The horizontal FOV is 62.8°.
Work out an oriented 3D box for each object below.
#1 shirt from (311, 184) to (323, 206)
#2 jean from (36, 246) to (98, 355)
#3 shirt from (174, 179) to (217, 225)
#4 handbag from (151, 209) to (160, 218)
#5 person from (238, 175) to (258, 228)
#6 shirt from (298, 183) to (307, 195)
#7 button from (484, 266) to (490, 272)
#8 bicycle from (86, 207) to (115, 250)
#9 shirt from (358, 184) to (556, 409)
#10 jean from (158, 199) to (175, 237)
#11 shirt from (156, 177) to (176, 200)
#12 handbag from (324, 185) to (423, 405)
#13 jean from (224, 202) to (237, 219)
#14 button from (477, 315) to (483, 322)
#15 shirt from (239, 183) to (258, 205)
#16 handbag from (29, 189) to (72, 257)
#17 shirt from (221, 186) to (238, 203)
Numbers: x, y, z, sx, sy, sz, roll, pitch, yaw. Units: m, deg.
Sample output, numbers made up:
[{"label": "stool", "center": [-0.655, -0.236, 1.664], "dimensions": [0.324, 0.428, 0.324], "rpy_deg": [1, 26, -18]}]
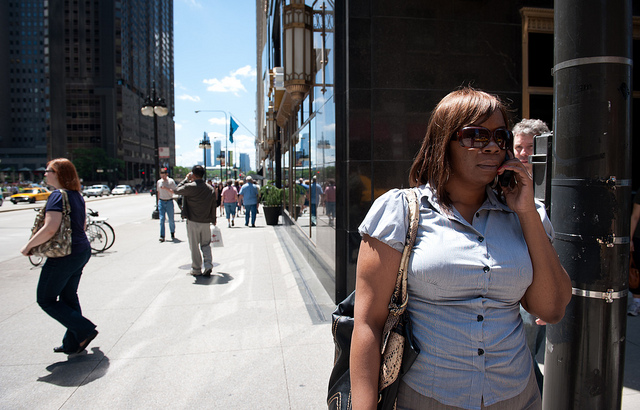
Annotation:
[{"label": "shirt", "center": [-0.060, -0.217, 10.569], "dimensions": [0.168, 0.456, 0.384], "rpy_deg": [-7, 11, -27]}, {"label": "jean", "center": [-3.206, 1.235, 6.651], "dimensions": [0.639, 1.307, 0.414], "rpy_deg": [-6, 12, -26]}, {"label": "shirt", "center": [-2.366, -0.114, 10.202], "dimensions": [0.815, 0.878, 0.485], "rpy_deg": [2, 1, -31]}, {"label": "handbag", "center": [-6.862, 0.352, 21.842], "dimensions": [0.272, 0.204, 0.405], "rpy_deg": [-3, 8, -15]}, {"label": "person", "center": [-2.566, -0.174, 18.892], "dimensions": [0.752, 1.830, 0.515], "rpy_deg": [-3, 12, -14]}, {"label": "shirt", "center": [-0.443, -0.419, 13.001], "dimensions": [0.116, 0.325, 0.292], "rpy_deg": [0, 8, -25]}, {"label": "button", "center": [1.184, 0.453, 3.733], "dimensions": [0.034, 0.035, 0.012], "rpy_deg": [-22, 4, -14]}, {"label": "bicycle", "center": [-5.760, 0.698, 13.836], "dimensions": [0.515, 0.711, 1.130], "rpy_deg": [1, -10, -25]}, {"label": "shirt", "center": [0.951, 0.669, 3.793], "dimensions": [1.447, 1.569, 0.721], "rpy_deg": [2, -6, -20]}, {"label": "jean", "center": [-4.336, 0.333, 14.797], "dimensions": [0.330, 1.017, 0.739], "rpy_deg": [-1, 11, -2]}, {"label": "shirt", "center": [-4.293, -0.455, 14.654], "dimensions": [0.450, 0.604, 0.504], "rpy_deg": [-5, 12, -21]}, {"label": "handbag", "center": [0.400, 0.691, 3.842], "dimensions": [0.720, 1.544, 0.533], "rpy_deg": [-1, 11, -3]}, {"label": "jean", "center": [-3.269, 0.169, 19.174], "dimensions": [0.322, 0.508, 0.811], "rpy_deg": [-4, 12, -14]}, {"label": "button", "center": [1.140, 0.807, 3.754], "dimensions": [0.041, 0.045, 0.010], "rpy_deg": [-2, -3, 15]}, {"label": "shirt", "center": [-2.689, -0.428, 19.733], "dimensions": [0.914, 1.003, 0.514], "rpy_deg": [-1, -3, 6]}, {"label": "handbag", "center": [-3.356, 0.248, 6.540], "dimensions": [0.553, 0.840, 0.424], "rpy_deg": [2, 12, 15]}, {"label": "shirt", "center": [-3.322, -0.376, 19.358], "dimensions": [0.812, 0.855, 0.472], "rpy_deg": [0, -3, 0]}]
